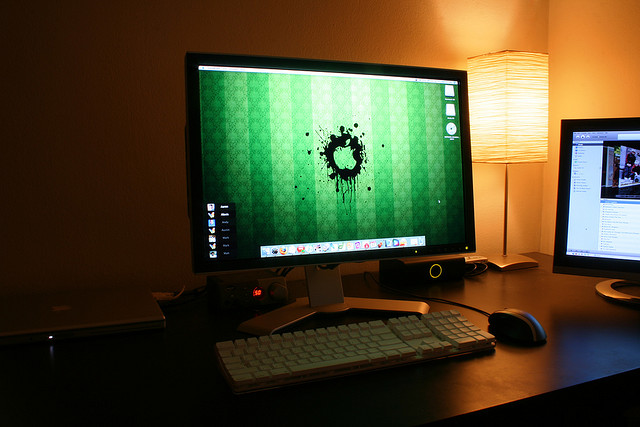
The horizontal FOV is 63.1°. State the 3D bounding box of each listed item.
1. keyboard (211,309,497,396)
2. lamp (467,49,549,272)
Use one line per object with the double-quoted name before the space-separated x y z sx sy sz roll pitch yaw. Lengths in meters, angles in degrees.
"keyboard" 0.100 0.337 1.313 0.706 0.108 0.126 -8 8 -12
"lamp" 0.749 -0.228 2.065 0.256 0.881 0.249 0 9 14
